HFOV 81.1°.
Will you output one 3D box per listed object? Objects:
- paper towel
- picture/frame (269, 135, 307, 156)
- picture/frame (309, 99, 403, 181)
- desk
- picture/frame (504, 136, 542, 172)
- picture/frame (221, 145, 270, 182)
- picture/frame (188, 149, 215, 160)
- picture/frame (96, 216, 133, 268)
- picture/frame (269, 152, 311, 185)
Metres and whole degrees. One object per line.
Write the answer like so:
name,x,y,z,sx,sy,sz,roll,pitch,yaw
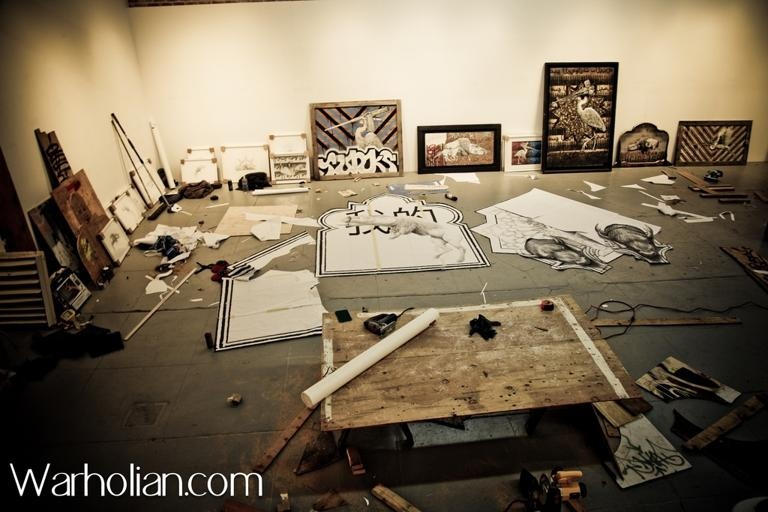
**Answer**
paper towel,-0.068,0.919,3.947,1.522,0.226,0.208,-32,76,-31
picture/frame,-1.791,-2.065,8.476,0.601,0.402,0.148,-1,2,-1
picture/frame,-0.568,-2.224,8.363,1.555,1.239,0.067,-2,14,-3
desk,0.820,0.868,3.974,2.439,0.433,1.022,-4,24,-5
picture/frame,2.606,-1.981,8.590,0.690,0.569,0.156,-1,14,-4
picture/frame,-2.575,-1.740,8.334,0.741,0.528,0.072,-2,9,-5
picture/frame,-3.371,-1.894,8.296,0.464,0.207,0.145,-8,25,-12
picture/frame,-3.686,-0.175,6.143,0.070,0.423,0.685,-25,34,4
picture/frame,-1.767,-1.639,8.349,0.585,0.475,0.215,-2,15,-6
